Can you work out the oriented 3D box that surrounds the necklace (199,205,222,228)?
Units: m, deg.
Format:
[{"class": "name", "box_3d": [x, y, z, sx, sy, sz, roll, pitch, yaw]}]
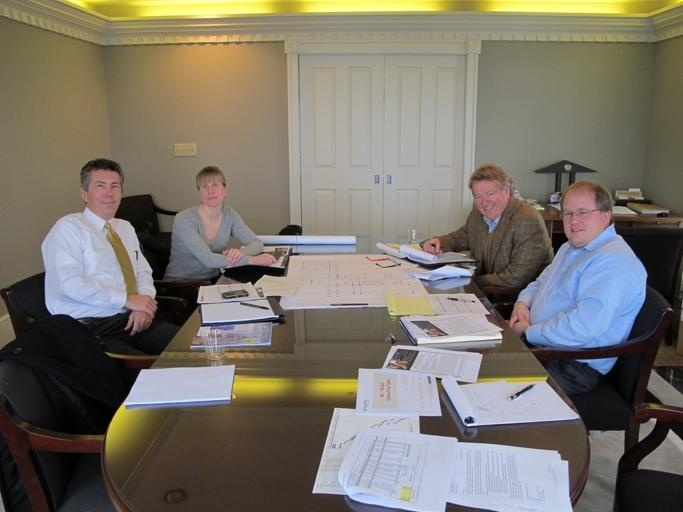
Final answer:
[{"class": "necklace", "box_3d": [-0.830, -0.268, 3.134, 0.173, 0.175, 0.120, -4, 26, -22]}]

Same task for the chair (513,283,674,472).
[{"class": "chair", "box_3d": [1.087, 0.405, 2.208, 0.655, 0.869, 0.574, 2, 18, 8]}]

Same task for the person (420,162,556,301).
[{"class": "person", "box_3d": [1.015, -0.217, 3.249, 0.701, 1.169, 0.610, -15, 31, -7]}]

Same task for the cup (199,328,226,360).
[{"class": "cup", "box_3d": [-0.433, 0.297, 1.656, 0.083, 0.093, 0.084, -1, 8, 0]}]

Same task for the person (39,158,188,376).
[{"class": "person", "box_3d": [-1.152, 0.121, 2.488, 0.708, 1.188, 0.638, 4, 5, 2]}]

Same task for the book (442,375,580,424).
[{"class": "book", "box_3d": [0.467, 0.407, 1.345, 0.179, 0.024, 0.171, -3, 11, -3]}]

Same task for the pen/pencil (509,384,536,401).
[{"class": "pen/pencil", "box_3d": [0.516, 0.388, 1.393, 0.114, 0.016, 0.030, -17, 22, -38]}]
